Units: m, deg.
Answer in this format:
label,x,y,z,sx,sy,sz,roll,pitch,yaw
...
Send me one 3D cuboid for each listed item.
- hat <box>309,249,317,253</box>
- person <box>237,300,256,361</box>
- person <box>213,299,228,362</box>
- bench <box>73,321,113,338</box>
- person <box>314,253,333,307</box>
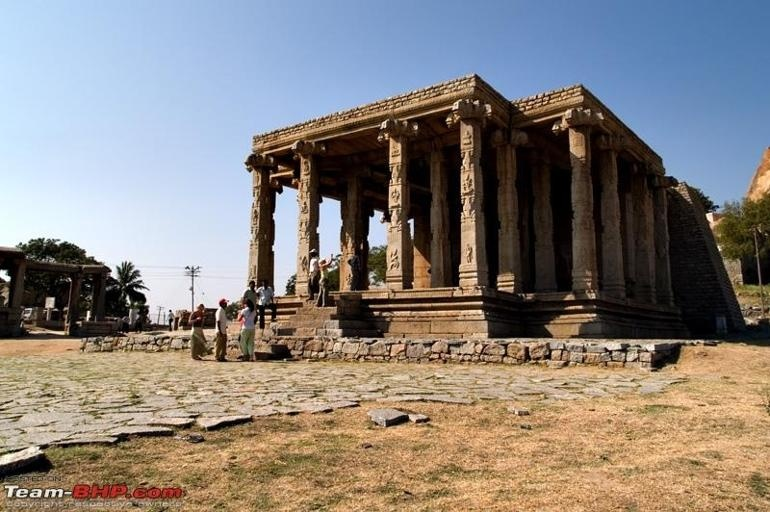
label,x,y,z,sx,sy,sz,roll,pitch,yaw
hat,-2.271,-0.161,15.755,0.219,0.094,0.314,0,2,30
person,-3.654,1.959,13.064,0.420,1.562,0.596,2,-3,-16
person,-4.409,1.977,13.231,0.289,1.630,1.174,2,-2,-18
bench,-17.106,4.202,28.728,2.288,0.793,1.129,1,-2,7
person,-1.911,0.814,15.173,0.461,1.473,1.341,1,-2,-9
